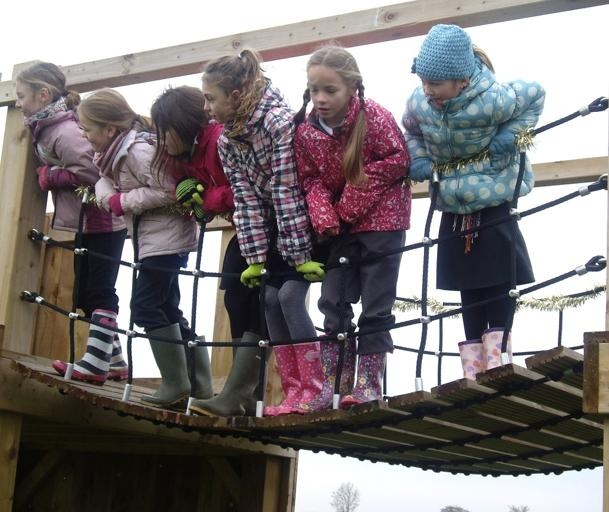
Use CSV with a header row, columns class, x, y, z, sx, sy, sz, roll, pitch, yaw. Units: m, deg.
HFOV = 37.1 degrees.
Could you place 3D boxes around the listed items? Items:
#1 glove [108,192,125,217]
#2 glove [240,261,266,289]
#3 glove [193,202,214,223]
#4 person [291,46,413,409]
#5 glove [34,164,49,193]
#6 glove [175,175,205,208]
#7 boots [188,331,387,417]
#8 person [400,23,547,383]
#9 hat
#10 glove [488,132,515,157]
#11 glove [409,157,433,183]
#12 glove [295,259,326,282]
class,x,y,z,sx,sy,sz,roll,pitch,yaw
glove,-0.964,-0.261,4.576,0.091,0.108,0.091,-6,10,-6
glove,-0.249,0.088,4.243,0.124,0.057,0.096,-13,23,43
glove,-0.503,-0.205,4.377,0.096,0.085,0.083,-4,7,-36
person,0.225,-0.116,4.067,0.565,1.594,0.489,3,-15,-3
glove,-1.476,-0.438,5.070,0.050,0.132,0.134,-6,-5,-14
glove,-0.562,-0.305,4.378,0.116,0.133,0.057,-39,-25,-15
boots,-0.114,0.586,4.378,1.022,0.580,0.355,0,-15,3
person,0.744,-0.254,3.973,0.614,1.522,0.470,1,-15,1
hat,0.603,-0.883,3.965,0.259,0.198,0.249,-11,22,-27
glove,0.865,-0.489,3.933,0.114,0.093,0.062,-3,-16,15
glove,0.527,-0.386,4.067,0.084,0.111,0.049,-1,-4,26
glove,0.028,0.065,4.105,0.114,0.085,0.042,12,41,21
